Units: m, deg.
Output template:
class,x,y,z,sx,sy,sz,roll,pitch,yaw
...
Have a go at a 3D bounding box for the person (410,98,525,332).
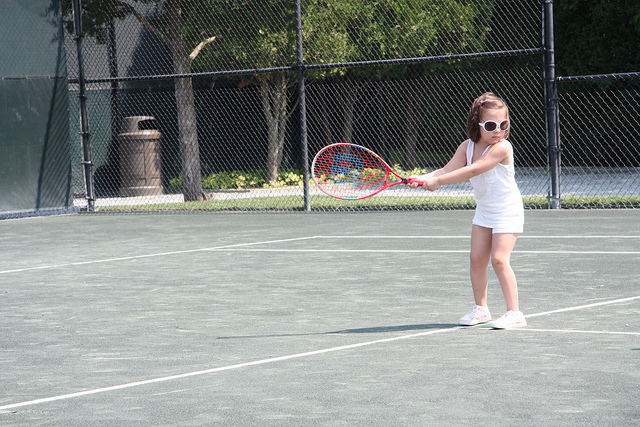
class,x,y,z,sx,sy,sz,roll,pitch,yaw
person,1.540,-0.011,8.641,0.809,2.159,0.616,-1,10,10
